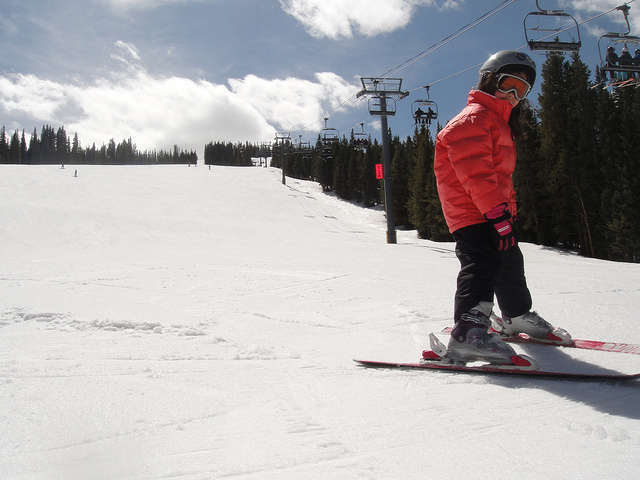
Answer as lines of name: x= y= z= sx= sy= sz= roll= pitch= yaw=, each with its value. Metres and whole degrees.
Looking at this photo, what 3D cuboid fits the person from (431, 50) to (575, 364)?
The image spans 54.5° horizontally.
person: x=1.541 y=-0.325 z=5.654 sx=1.045 sy=2.610 sz=0.617 roll=2 pitch=1 yaw=20
